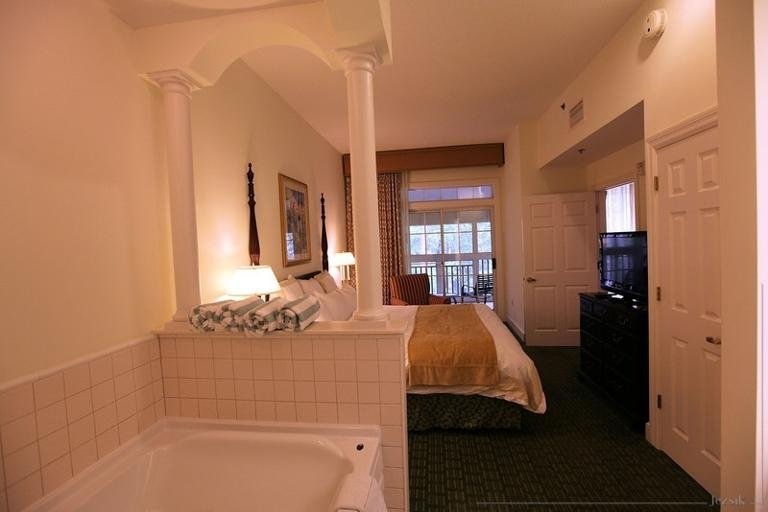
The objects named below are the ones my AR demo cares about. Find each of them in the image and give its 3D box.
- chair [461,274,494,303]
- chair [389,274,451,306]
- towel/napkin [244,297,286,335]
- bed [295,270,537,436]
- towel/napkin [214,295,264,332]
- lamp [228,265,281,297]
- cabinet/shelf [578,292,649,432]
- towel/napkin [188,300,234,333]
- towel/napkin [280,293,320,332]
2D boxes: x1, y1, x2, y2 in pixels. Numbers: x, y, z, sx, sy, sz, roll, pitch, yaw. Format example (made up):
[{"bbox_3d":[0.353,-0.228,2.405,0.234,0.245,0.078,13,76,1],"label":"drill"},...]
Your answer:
[{"bbox_3d":[1.515,0.497,8.497,0.441,0.622,0.430,1,-1,9],"label":"chair"},{"bbox_3d":[0.520,0.467,7.627,0.506,0.702,0.587,1,-7,-21],"label":"chair"},{"bbox_3d":[-0.835,0.398,3.688,0.230,0.126,0.318,3,22,22],"label":"towel/napkin"},{"bbox_3d":[0.586,1.009,4.983,1.644,0.777,1.770,-1,5,0],"label":"bed"},{"bbox_3d":[-1.017,0.393,3.668,0.218,0.095,0.223,-1,12,14],"label":"towel/napkin"},{"bbox_3d":[-1.069,0.170,4.384,0.303,0.344,0.281,0,4,35],"label":"lamp"},{"bbox_3d":[2.113,0.974,4.780,0.403,0.979,1.160,1,3,8],"label":"cabinet/shelf"},{"bbox_3d":[-1.218,0.423,3.696,0.215,0.086,0.219,-1,7,13],"label":"towel/napkin"},{"bbox_3d":[-0.631,0.390,3.770,0.233,0.148,0.415,6,9,13],"label":"towel/napkin"}]
